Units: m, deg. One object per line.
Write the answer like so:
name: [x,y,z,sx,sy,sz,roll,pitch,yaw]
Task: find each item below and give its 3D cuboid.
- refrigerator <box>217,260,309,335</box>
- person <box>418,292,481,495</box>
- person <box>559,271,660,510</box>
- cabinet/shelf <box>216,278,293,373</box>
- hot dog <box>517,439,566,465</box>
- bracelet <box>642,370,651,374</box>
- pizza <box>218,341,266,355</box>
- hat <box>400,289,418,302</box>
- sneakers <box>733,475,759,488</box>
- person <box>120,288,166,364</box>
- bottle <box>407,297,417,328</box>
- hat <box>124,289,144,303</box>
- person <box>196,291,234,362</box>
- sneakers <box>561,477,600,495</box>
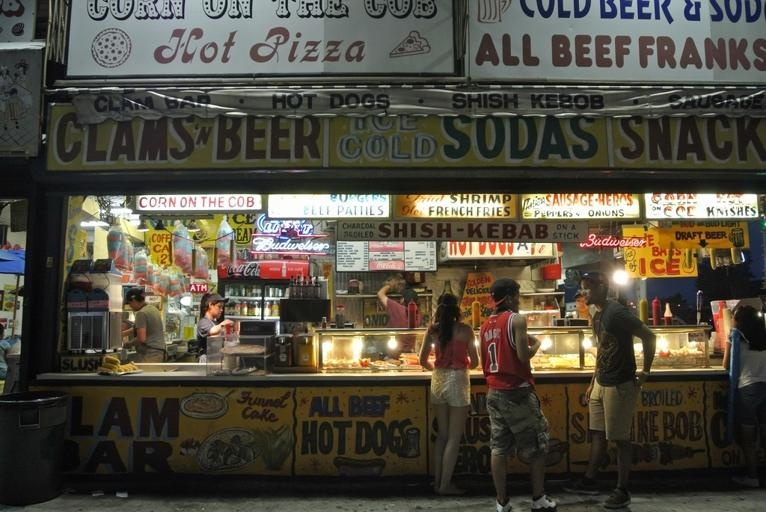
refrigerator: [-2.248,0.736,15.706,1.273,1.242,0.409,0,-7,0]
person: [0.900,1.888,11.778,0.788,2.749,0.268,1,-4,5]
person: [3.113,1.787,11.504,1.030,3.106,0.492,-1,-4,24]
cabinet/shelf: [-2.167,1.152,14.181,1.192,2.148,0.608,1,3,3]
hot dog: [2.177,2.720,11.824,0.702,0.518,0.191,2,-3,10]
bracelet: [3.503,1.544,11.410,0.144,0.040,0.137,1,-1,-6]
pizza: [-1.999,1.344,12.213,0.618,0.145,0.150,2,-3,-12]
hat: [0.443,0.671,13.989,0.225,0.223,0.230,4,5,45]
sneakers: [5.046,3.116,11.878,0.334,0.135,0.123,3,-3,37]
person: [-3.898,1.122,13.845,0.316,1.180,0.749,-2,-5,38]
bottle: [0.453,0.887,13.186,0.143,0.394,0.392,1,-3,2]
hat: [-4.044,0.632,13.848,0.257,0.231,0.335,2,-3,-22]
person: [-2.927,1.235,14.750,0.531,1.158,3.638,2,-3,-12]
sneakers: [2.718,3.145,11.766,0.498,0.236,0.217,2,-6,12]
